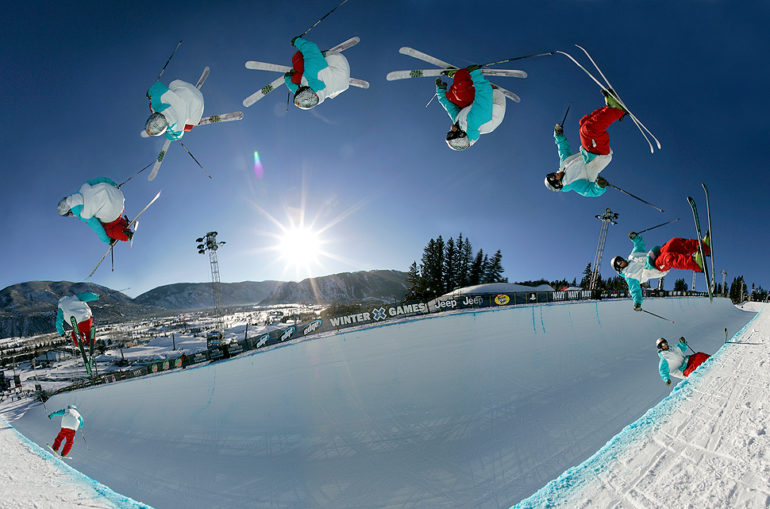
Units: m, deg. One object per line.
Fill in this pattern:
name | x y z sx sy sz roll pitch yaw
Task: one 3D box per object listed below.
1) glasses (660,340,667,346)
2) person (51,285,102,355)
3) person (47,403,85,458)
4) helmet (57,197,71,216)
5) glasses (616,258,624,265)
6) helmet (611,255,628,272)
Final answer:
glasses | 10.690 3.545 16.602 0.203 0.154 0.300 -33 -23 -3
person | -11.714 2.522 16.305 1.390 2.853 0.629 -15 13 -29
person | -13.903 8.023 18.647 1.184 2.173 0.543 26 -14 -12
helmet | -10.267 -1.520 13.699 0.294 0.554 0.431 -1 -7 -38
glasses | 8.502 0.297 15.552 0.166 0.141 0.178 -16 -13 -7
helmet | 7.363 0.360 13.436 0.322 0.499 0.420 -3 -6 -1
